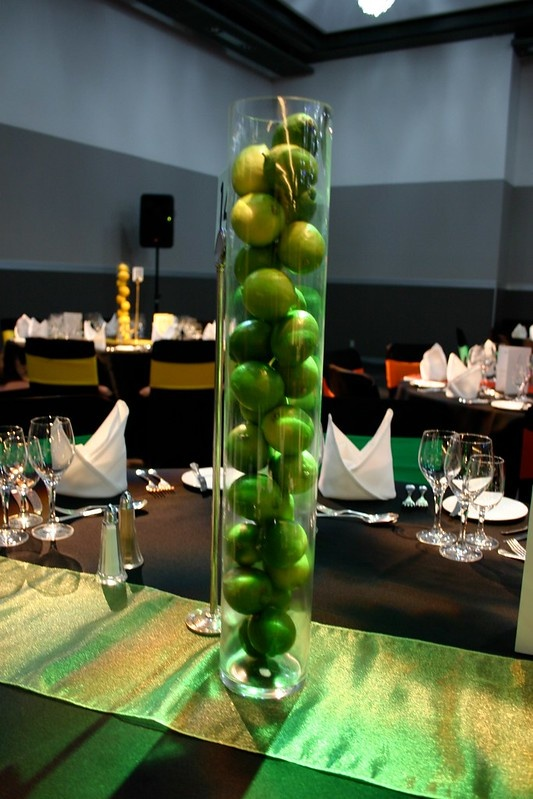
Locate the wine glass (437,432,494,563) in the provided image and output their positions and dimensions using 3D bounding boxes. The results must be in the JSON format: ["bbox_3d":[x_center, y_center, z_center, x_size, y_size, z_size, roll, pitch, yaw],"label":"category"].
[{"bbox_3d":[0.367,0.166,1.039,0.086,0.195,0.240,3,5,20],"label":"wine glass"}]

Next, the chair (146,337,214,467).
[{"bbox_3d":[-0.456,0.002,3.026,0.335,0.645,0.339,0,4,-10],"label":"chair"}]

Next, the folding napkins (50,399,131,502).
[{"bbox_3d":[-0.376,0.100,1.220,0.148,0.211,0.150,8,8,5],"label":"folding napkins"}]

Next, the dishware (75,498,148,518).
[{"bbox_3d":[-0.310,0.215,1.136,0.138,0.018,0.074,1,5,-12],"label":"dishware"}]

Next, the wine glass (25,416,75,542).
[{"bbox_3d":[-0.406,0.131,1.061,0.078,0.205,0.216,-1,5,-24],"label":"wine glass"}]

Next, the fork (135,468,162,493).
[{"bbox_3d":[-0.271,0.175,1.315,0.028,0.021,0.129,-1,20,-17],"label":"fork"}]

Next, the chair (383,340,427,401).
[{"bbox_3d":[1.079,-0.215,4.626,0.307,0.445,0.359,1,2,-3],"label":"chair"}]

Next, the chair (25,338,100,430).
[{"bbox_3d":[-1.011,-0.097,2.813,0.247,0.575,0.324,3,28,-2],"label":"chair"}]

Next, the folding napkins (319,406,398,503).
[{"bbox_3d":[0.207,0.120,1.277,0.143,0.213,0.186,0,6,11],"label":"folding napkins"}]
